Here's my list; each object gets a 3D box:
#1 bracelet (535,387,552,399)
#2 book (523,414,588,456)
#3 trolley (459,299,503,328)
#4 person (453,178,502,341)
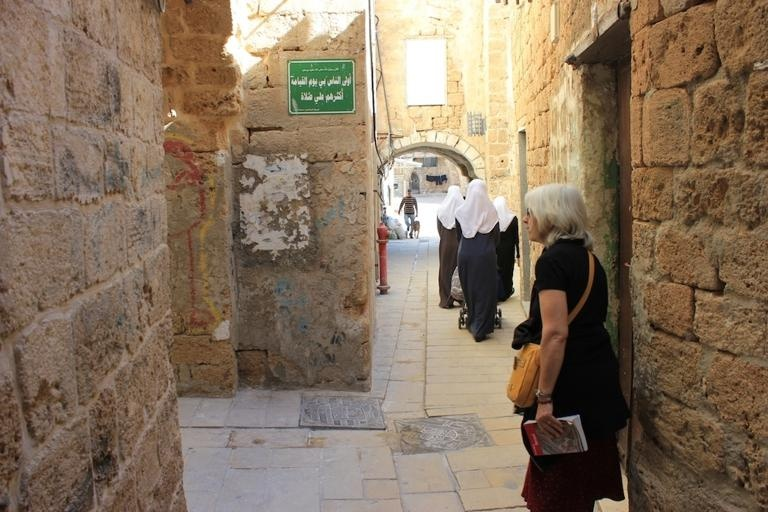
[{"bbox_3d":[0.790,0.678,2.849,0.055,0.030,0.047,6,-9,12],"label":"bracelet"},{"bbox_3d":[0.858,0.875,2.863,0.339,0.347,0.081,10,47,6],"label":"book"},{"bbox_3d":[1.307,0.804,7.900,0.345,0.426,0.549,0,-6,3],"label":"trolley"},{"bbox_3d":[1.273,0.014,7.589,0.603,1.993,1.021,1,9,-8],"label":"person"}]
